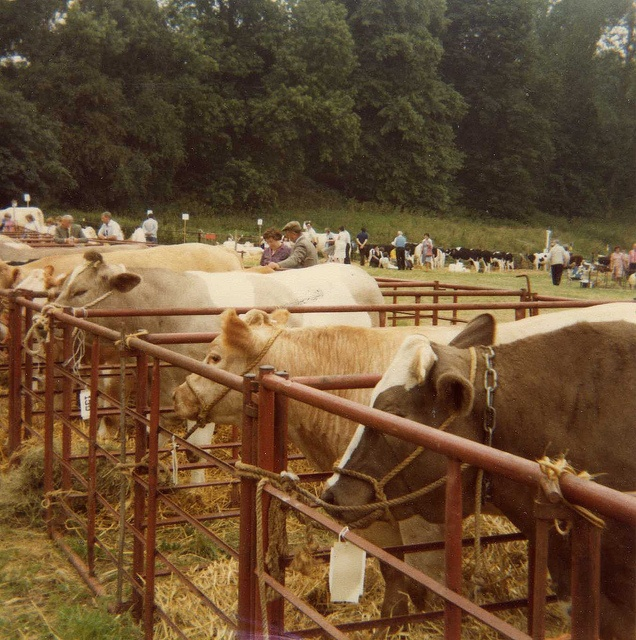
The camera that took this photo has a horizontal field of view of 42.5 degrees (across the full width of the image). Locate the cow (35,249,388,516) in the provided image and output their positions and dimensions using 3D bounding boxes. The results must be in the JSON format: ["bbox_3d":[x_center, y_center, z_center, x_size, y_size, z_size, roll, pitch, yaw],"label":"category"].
[{"bbox_3d":[-0.640,0.320,7.687,3.408,2.198,1.337,3,-5,-29],"label":"cow"}]

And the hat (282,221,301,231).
[{"bbox_3d":[-0.359,-1.208,10.546,0.225,0.141,0.171,8,10,41],"label":"hat"}]

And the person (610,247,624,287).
[{"bbox_3d":[9.927,-1.766,27.145,0.463,1.265,2.319,2,6,21],"label":"person"}]

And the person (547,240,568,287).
[{"bbox_3d":[7.520,-1.746,25.786,0.547,1.529,0.361,0,-21,18],"label":"person"}]

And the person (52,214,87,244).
[{"bbox_3d":[-4.760,-1.758,15.800,0.587,0.538,1.732,-1,6,-18],"label":"person"}]

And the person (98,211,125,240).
[{"bbox_3d":[-4.574,-2.074,18.032,0.473,0.621,2.505,-1,6,-15],"label":"person"}]

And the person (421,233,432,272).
[{"bbox_3d":[4.459,-2.820,33.606,0.476,1.418,2.396,1,6,8],"label":"person"}]
